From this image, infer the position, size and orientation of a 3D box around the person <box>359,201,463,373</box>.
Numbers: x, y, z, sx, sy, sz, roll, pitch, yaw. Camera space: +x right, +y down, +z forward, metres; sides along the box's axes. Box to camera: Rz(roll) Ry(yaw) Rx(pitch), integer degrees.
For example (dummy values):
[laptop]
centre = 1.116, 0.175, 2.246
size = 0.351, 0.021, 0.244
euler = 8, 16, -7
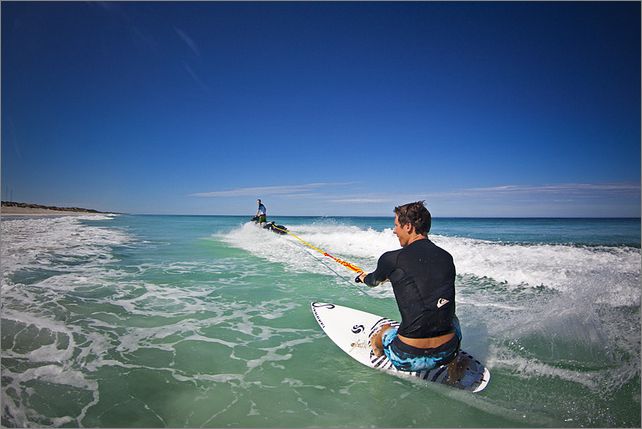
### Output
[person]
centre = 1.617, 1.308, 5.904
size = 1.478, 3.062, 0.957
euler = -1, 1, 19
